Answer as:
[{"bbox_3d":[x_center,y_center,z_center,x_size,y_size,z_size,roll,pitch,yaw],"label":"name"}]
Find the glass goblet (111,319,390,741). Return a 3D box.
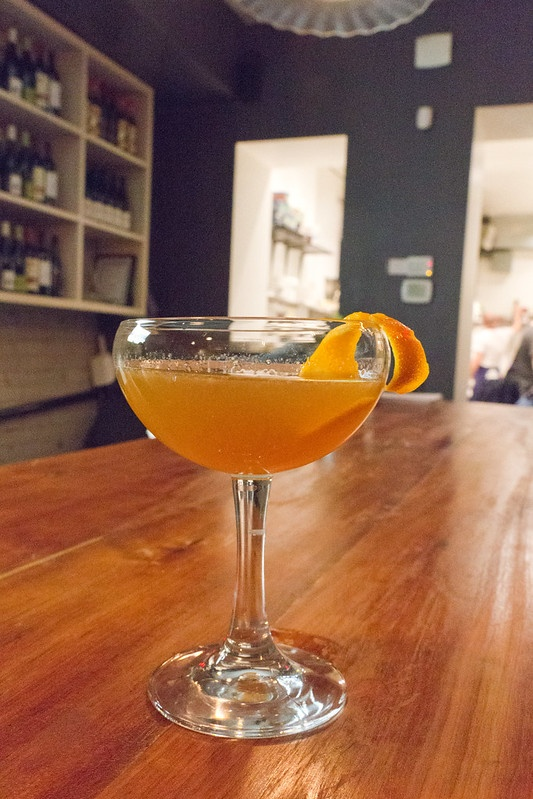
[{"bbox_3d":[0.000,0.044,0.358,0.152,0.173,0.187,-1,6,-26],"label":"glass goblet"}]
